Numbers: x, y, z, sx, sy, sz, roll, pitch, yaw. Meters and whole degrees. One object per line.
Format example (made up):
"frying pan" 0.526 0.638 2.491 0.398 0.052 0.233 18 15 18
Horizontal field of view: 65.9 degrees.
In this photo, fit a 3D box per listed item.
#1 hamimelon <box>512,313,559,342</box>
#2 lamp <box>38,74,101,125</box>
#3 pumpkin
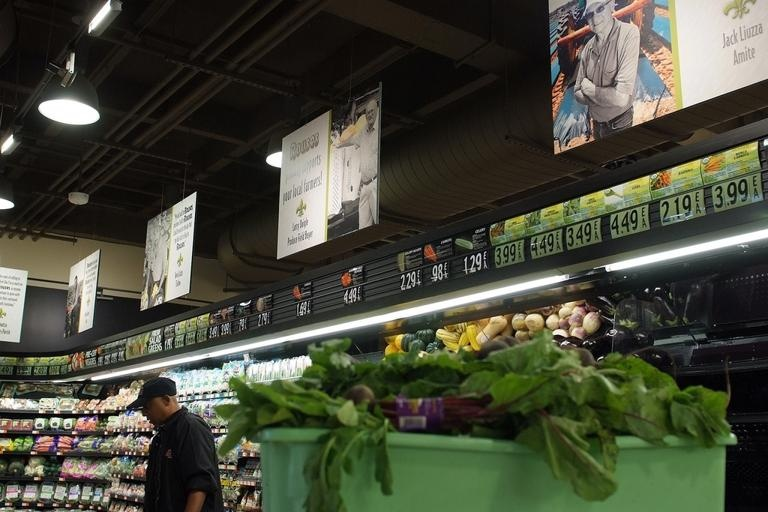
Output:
"hamimelon" 1.115 0.521 4.439 0.123 0.211 0.409 1 1 -40
"lamp" -3.064 -1.557 5.816 0.451 0.476 0.456 2 1 38
"pumpkin" 0.469 0.636 4.974 0.510 0.346 1.217 1 1 -37
